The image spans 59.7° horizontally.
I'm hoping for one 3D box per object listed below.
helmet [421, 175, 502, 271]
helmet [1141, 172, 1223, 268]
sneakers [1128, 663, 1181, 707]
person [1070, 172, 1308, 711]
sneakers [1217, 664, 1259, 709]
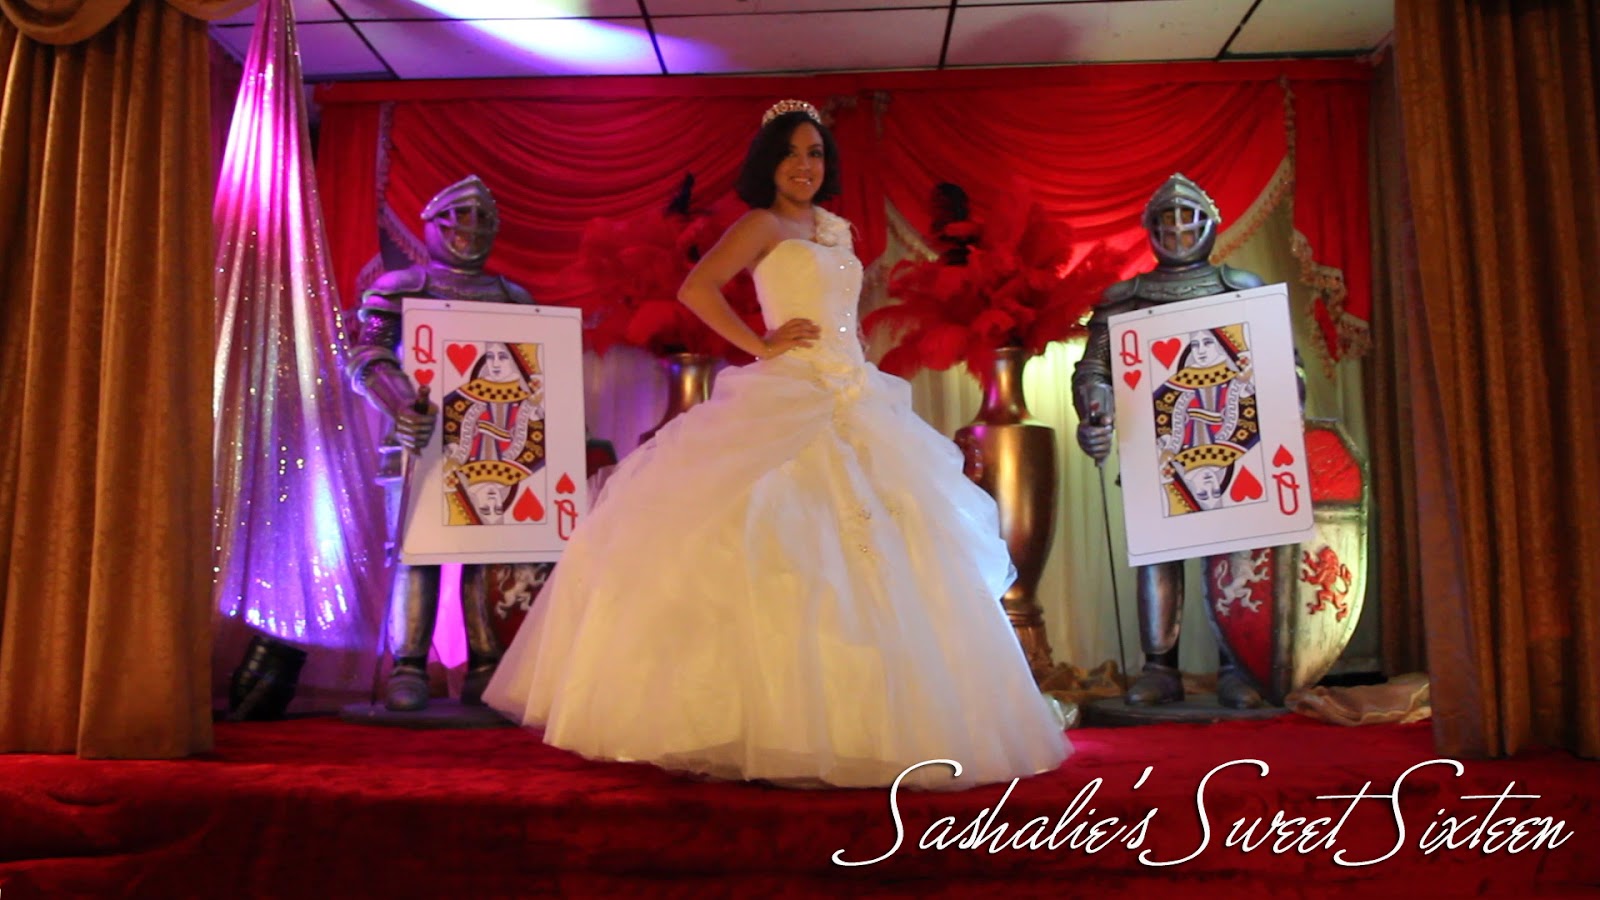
[{"bbox_3d":[-1.546,-1.019,6.410,0.353,0.394,0.412,6,-9,-26],"label":"helmet"},{"bbox_3d":[1.755,-1.039,6.447,0.383,0.397,0.462,1,-5,4],"label":"helmet"},{"bbox_3d":[1.573,1.045,6.188,0.237,0.183,0.154,0,-8,13],"label":"sneakers"},{"bbox_3d":[1.651,-0.047,6.291,0.830,2.379,0.458,0,-8,9],"label":"person"},{"bbox_3d":[1.954,1.043,6.144,0.162,0.190,0.239,2,-8,-6],"label":"sneakers"}]
